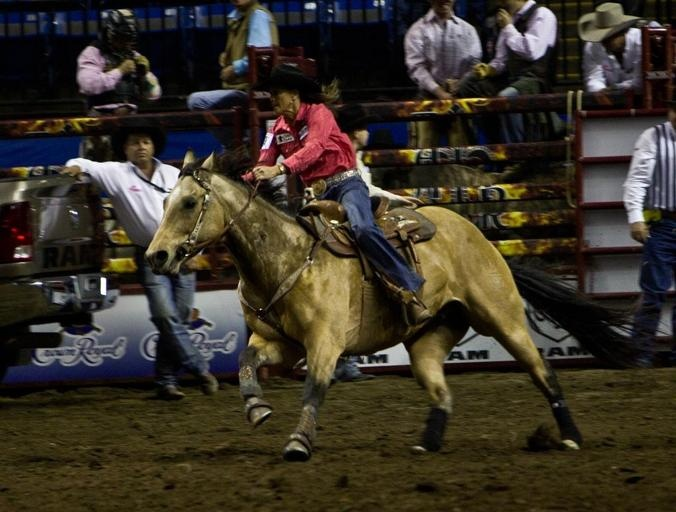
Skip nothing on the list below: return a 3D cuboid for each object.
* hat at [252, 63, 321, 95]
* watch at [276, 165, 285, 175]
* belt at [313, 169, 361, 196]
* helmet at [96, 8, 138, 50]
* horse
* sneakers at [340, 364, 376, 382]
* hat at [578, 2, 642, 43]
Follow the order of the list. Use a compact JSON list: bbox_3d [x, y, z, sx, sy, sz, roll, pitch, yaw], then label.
[{"bbox_3d":[-0.367,-1.191,5.284,0.447,0.201,0.254,-2,10,12],"label":"hat"},{"bbox_3d":[-0.377,-0.566,5.094,0.045,0.065,0.067,-7,10,-4],"label":"watch"},{"bbox_3d":[-0.024,-0.526,5.469,0.279,0.074,0.230,-17,5,-25],"label":"belt"},{"bbox_3d":[-2.232,-2.247,7.795,0.416,0.400,0.247,-6,11,-3],"label":"helmet"},{"bbox_3d":[0.435,0.301,5.414,3.237,2.146,0.956,-9,11,-27],"label":"horse"},{"bbox_3d":[0.129,1.126,7.539,0.485,0.088,0.224,3,-2,-3],"label":"sneakers"},{"bbox_3d":[2.786,-2.391,8.017,0.566,0.409,0.551,-3,9,6],"label":"hat"}]
